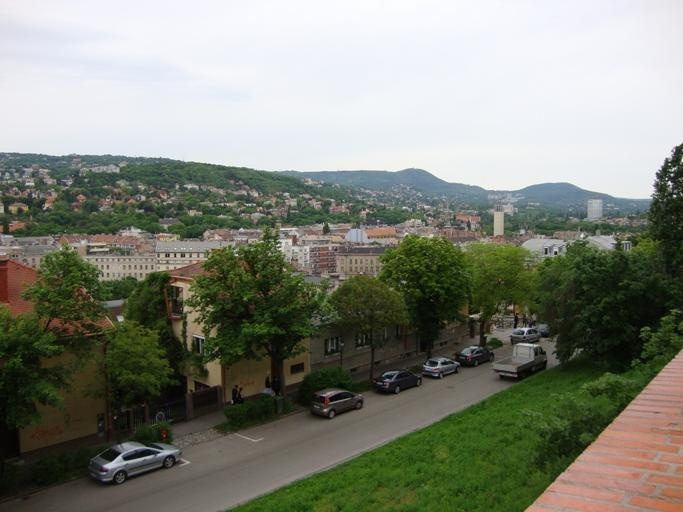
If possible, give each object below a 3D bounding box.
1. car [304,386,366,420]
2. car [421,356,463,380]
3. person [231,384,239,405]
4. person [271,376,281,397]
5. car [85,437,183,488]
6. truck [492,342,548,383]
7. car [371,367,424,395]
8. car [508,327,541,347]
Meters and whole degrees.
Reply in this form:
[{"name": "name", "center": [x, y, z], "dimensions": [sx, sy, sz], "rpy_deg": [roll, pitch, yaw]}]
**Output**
[{"name": "car", "center": [-0.261, 9.199, 39.515], "dimensions": [2.837, 1.132, 1.559], "rpy_deg": [-8, 10, -34]}, {"name": "car", "center": [7.536, 8.391, 46.738], "dimensions": [2.658, 0.933, 1.252], "rpy_deg": [-7, 9, -37]}, {"name": "person", "center": [-6.819, 8.964, 40.204], "dimensions": [0.549, 0.942, 1.269], "rpy_deg": [-9, 6, -10]}, {"name": "person", "center": [-4.430, 8.833, 42.262], "dimensions": [0.545, 1.048, 1.336], "rpy_deg": [-9, 6, -9]}, {"name": "car", "center": [-10.658, 10.553, 32.446], "dimensions": [3.848, 1.232, 1.842], "rpy_deg": [-6, 12, -34]}, {"name": "truck", "center": [12.948, 7.769, 45.809], "dimensions": [4.207, 1.811, 2.223], "rpy_deg": [-9, 10, -43]}, {"name": "car", "center": [4.072, 8.742, 43.562], "dimensions": [2.938, 0.859, 1.362], "rpy_deg": [-6, 7, -38]}, {"name": "car", "center": [16.896, 7.546, 57.747], "dimensions": [2.733, 1.121, 1.426], "rpy_deg": [-9, 9, -37]}]
